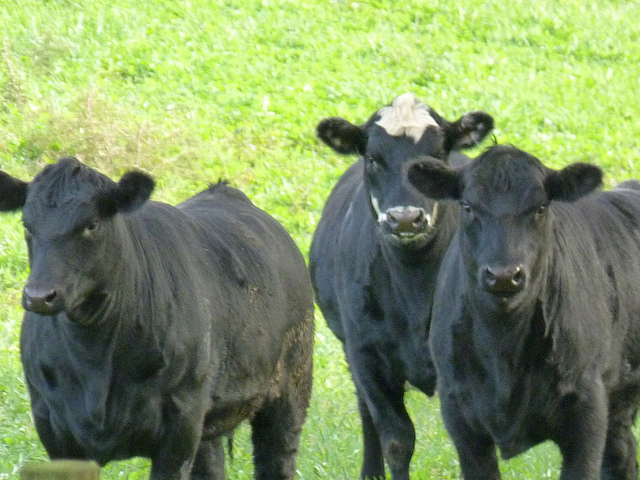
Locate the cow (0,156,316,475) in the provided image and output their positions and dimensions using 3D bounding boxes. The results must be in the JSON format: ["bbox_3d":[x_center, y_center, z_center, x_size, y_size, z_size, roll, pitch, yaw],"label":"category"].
[{"bbox_3d":[-1.370,0.859,8.590,1.238,3.362,2.944,8,17,32],"label":"cow"}]

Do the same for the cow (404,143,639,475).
[{"bbox_3d":[1.988,0.728,8.382,1.923,3.074,1.442,-8,16,-27],"label":"cow"}]
